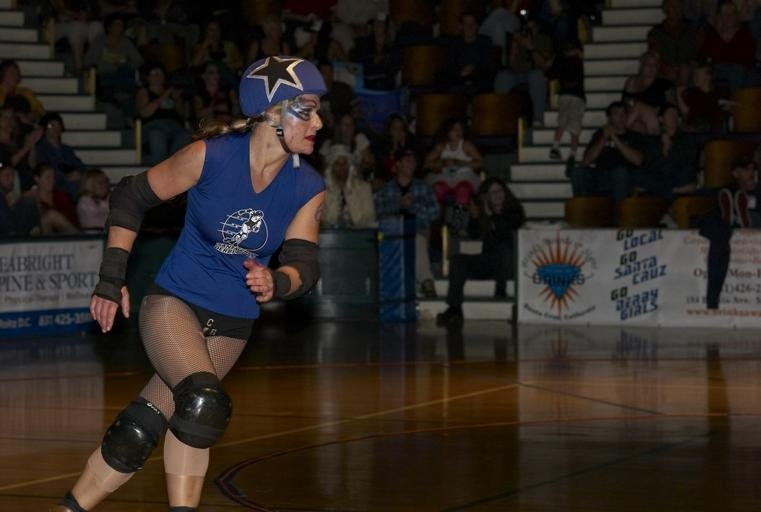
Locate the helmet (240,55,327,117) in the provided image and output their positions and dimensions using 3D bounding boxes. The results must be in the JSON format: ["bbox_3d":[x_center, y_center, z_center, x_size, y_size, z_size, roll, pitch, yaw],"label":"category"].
[{"bbox_3d":[-0.878,-1.549,11.063,0.663,0.386,0.544,4,24,1],"label":"helmet"}]

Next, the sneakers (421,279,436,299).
[{"bbox_3d":[0.770,0.526,19.664,0.276,0.381,0.209,1,-8,-4],"label":"sneakers"}]
